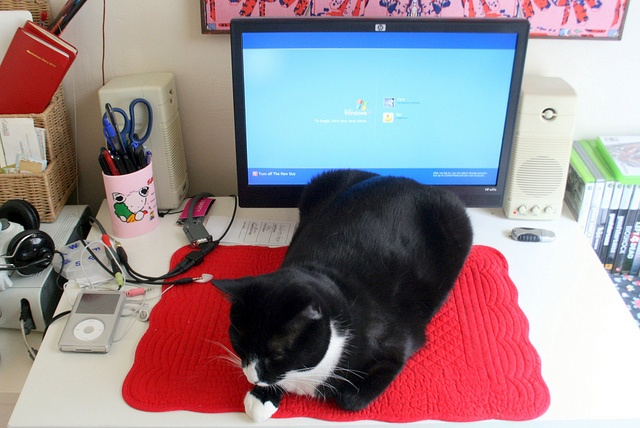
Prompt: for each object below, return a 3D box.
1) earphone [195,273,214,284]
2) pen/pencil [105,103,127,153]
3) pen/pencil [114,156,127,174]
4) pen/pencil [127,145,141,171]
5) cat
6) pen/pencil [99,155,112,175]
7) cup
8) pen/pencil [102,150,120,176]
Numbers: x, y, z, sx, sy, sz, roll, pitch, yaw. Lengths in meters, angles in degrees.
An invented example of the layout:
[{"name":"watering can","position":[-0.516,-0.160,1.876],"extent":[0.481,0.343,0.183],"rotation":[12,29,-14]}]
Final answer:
[{"name":"earphone","position":[-0.296,0.166,1.302],"extent":[0.048,0.008,0.026],"rotation":[-5,52,-13]},{"name":"pen/pencil","position":[-0.550,-0.228,1.362],"extent":[0.016,0.157,0.016],"rotation":[-13,21,10]},{"name":"pen/pencil","position":[-0.528,-0.128,1.348],"extent":[0.017,0.065,0.018],"rotation":[19,50,14]},{"name":"pen/pencil","position":[-0.503,-0.149,1.364],"extent":[0.016,0.083,0.023],"rotation":[37,57,26]},{"name":"cat","position":[0.082,0.150,1.133],"extent":[0.385,0.280,0.596],"rotation":[8,53,26]},{"name":"pen/pencil","position":[-0.578,-0.122,1.374],"extent":[0.019,0.073,0.020],"rotation":[-13,46,-10]},{"name":"cup","position":[-0.533,-0.045,1.427],"extent":[0.121,0.201,0.123],"rotation":[3,24,-1]},{"name":"pen/pencil","position":[-0.551,-0.133,1.339],"extent":[0.012,0.085,0.017],"rotation":[-29,45,-24]}]
